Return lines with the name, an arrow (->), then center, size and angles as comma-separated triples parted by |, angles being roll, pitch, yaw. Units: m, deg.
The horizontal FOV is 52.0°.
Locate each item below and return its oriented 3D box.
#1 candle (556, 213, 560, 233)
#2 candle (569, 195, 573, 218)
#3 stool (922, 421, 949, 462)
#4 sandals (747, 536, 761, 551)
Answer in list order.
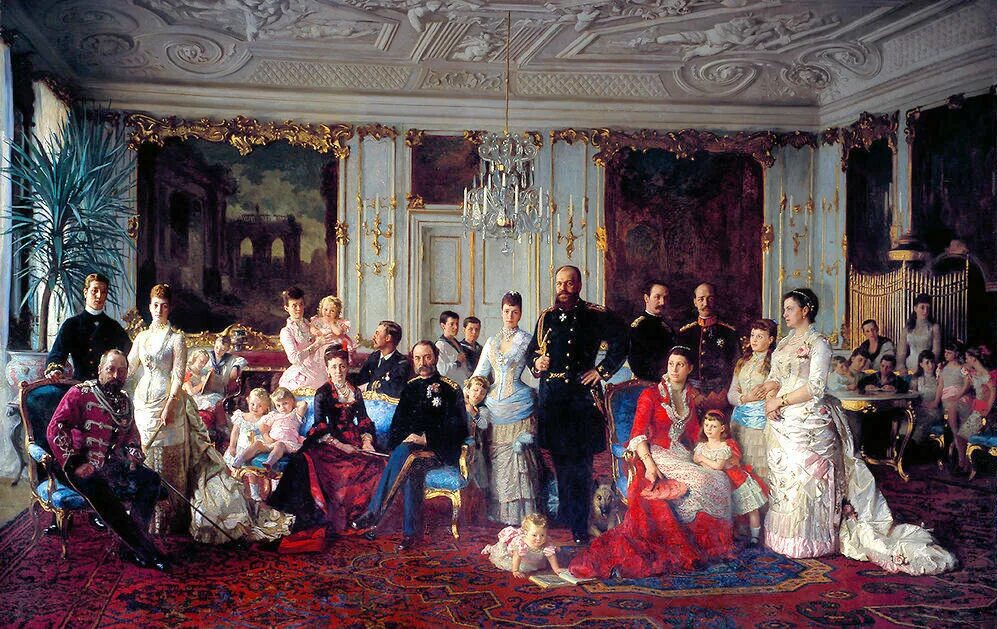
candle -> 0.863, -1.327, 14.918 | 0.059, 0.270, 0.018 | 1, 0, -4
candle -> 1.049, -1.591, 14.929 | 0.086, 0.277, 0.029 | 1, 0, -19
stool -> 5.394, 1.541, 12.535 | 0.365, 0.504, 0.413 | -8, -13, 32
sandals -> 2.592, 2.346, 10.410 | 0.110, 0.110, 0.116 | -5, -11, 17
